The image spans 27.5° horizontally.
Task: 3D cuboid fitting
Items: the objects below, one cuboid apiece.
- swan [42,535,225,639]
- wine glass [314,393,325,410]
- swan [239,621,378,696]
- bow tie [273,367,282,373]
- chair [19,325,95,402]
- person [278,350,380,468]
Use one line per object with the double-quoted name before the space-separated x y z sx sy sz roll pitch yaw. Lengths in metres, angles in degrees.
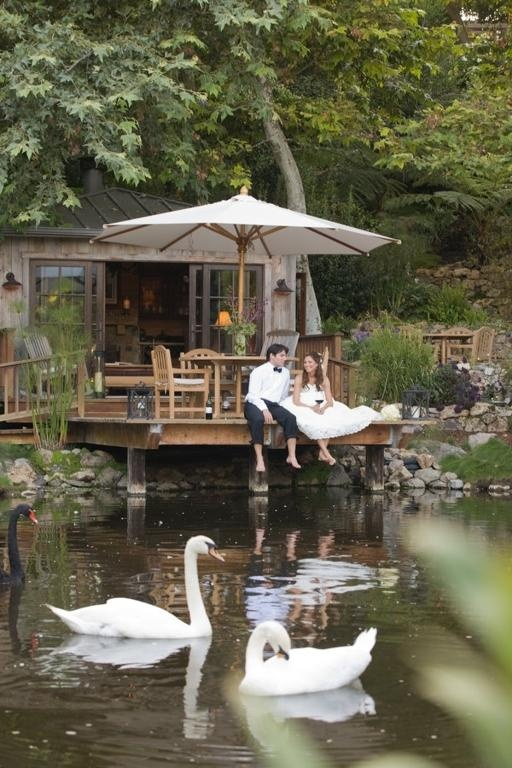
"swan" -0.574 0.911 5.157 0.608 0.564 0.236 0 1 -7
"wine glass" 0.658 0.201 10.907 0.121 0.156 0.130 1 -13 -6
"swan" 0.201 1.004 3.997 0.537 0.357 0.210 -4 30 -18
"bow tie" 0.215 -0.130 10.657 0.056 0.053 0.019 1 -7 17
"chair" -2.507 -0.243 13.340 1.137 1.272 0.785 2 5 38
"person" 0.761 0.244 10.911 0.863 1.235 0.812 -1 10 -35
